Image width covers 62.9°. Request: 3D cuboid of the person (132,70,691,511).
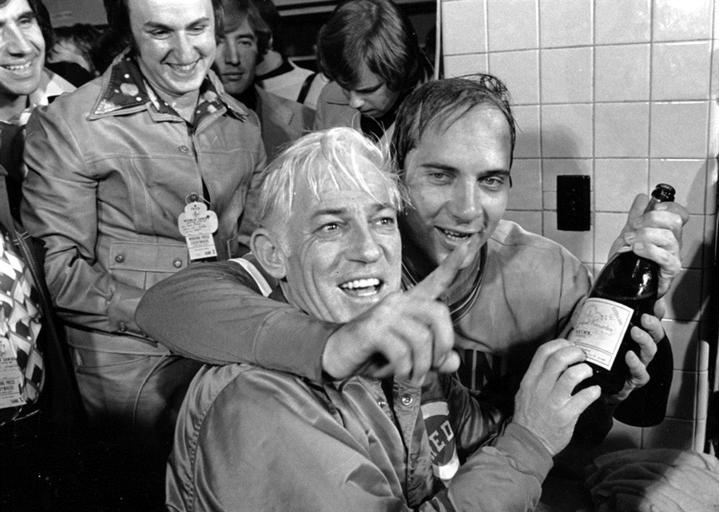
[{"bbox_3d":[0.147,0.080,1.600,1.290,1.203,0.788,3,14,-8],"label":"person"}]
